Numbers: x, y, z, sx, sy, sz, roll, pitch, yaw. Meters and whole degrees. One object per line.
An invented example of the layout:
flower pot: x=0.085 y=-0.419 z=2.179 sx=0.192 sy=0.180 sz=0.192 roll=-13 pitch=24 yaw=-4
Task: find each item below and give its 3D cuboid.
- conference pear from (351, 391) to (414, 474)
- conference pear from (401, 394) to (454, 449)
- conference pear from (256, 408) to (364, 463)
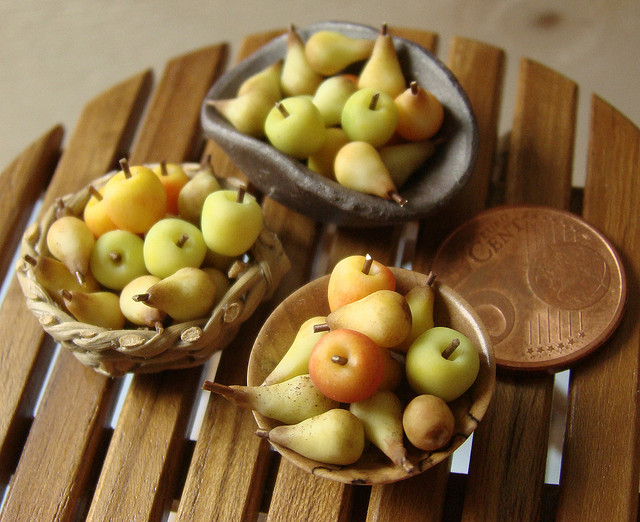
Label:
conference pear: x=0.070 y=0.187 z=0.815 sx=0.044 sy=0.043 sz=0.098 roll=-25 pitch=67 yaw=-1
conference pear: x=0.121 y=0.178 z=0.796 sx=0.051 sy=0.048 sz=0.064 roll=16 pitch=99 yaw=37
conference pear: x=-0.016 y=0.210 z=0.829 sx=0.112 sy=0.070 sz=0.081 roll=3 pitch=95 yaw=-3
